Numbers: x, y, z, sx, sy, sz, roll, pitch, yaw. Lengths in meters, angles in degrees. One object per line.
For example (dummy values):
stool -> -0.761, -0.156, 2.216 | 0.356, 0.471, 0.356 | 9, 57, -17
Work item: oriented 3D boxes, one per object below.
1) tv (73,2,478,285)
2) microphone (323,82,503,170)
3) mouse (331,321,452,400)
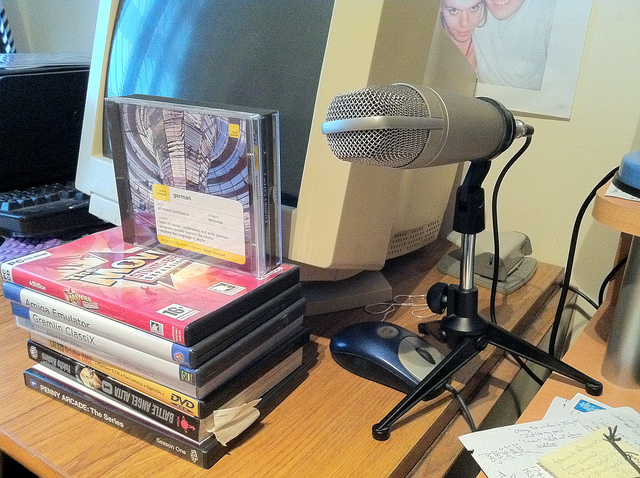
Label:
tv -> -0.095, -0.131, 1.030 | 0.743, 0.619, 0.539 | 20, 37, 25
microphone -> 0.130, -0.142, 0.554 | 0.249, 0.093, 0.098 | -14, 29, -29
mouse -> 0.104, 0.168, 0.689 | 0.178, 0.057, 0.108 | 17, 26, 41
